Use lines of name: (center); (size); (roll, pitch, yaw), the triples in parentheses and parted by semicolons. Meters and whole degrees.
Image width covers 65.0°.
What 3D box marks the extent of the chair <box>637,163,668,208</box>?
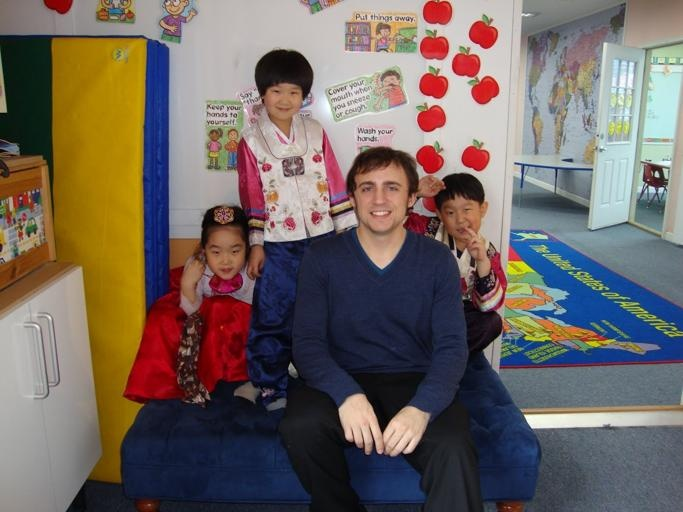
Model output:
chair: (4.757, -1.136, 8.144); (0.368, 0.647, 1.903); (4, 14, 30)

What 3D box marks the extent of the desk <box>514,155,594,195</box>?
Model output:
desk: (3.326, -1.258, 8.541); (0.995, 0.659, 2.887); (2, 13, 21)

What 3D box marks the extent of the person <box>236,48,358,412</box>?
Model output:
person: (-0.241, -0.147, 2.598); (0.536, 1.634, 0.347); (-8, 23, -19)

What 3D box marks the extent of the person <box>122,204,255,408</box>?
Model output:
person: (-0.627, 0.224, 2.496); (0.552, 0.357, 0.964); (9, 46, -1)
